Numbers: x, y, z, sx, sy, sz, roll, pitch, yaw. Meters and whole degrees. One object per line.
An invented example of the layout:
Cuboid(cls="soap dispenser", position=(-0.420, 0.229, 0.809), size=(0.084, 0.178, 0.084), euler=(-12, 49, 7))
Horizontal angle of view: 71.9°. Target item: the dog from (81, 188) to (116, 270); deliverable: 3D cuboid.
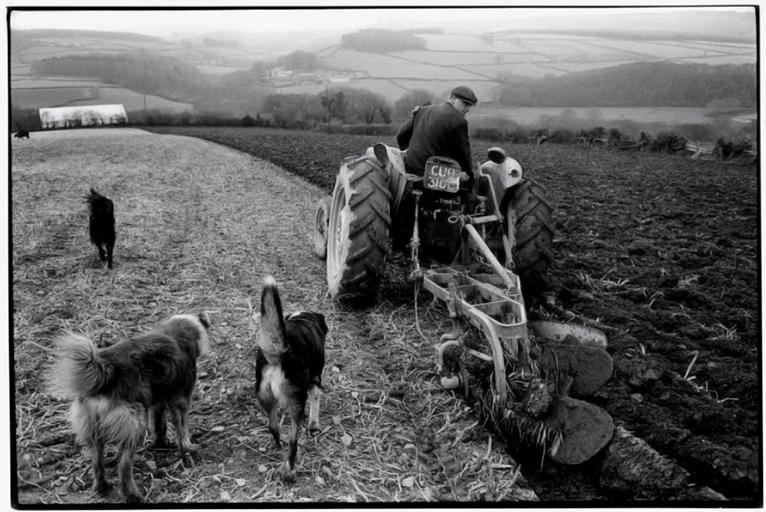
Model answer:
Cuboid(cls="dog", position=(-2.880, -0.242, 5.353), size=(0.183, 0.445, 0.836), euler=(-10, 54, 1))

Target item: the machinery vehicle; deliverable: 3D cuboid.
Cuboid(cls="machinery vehicle", position=(0.832, 0.488, 5.371), size=(2.010, 1.726, 3.518), euler=(-3, 34, -19))

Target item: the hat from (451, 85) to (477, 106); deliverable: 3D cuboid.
Cuboid(cls="hat", position=(0.880, -1.725, 5.713), size=(0.223, 0.127, 0.200), euler=(8, 25, -17))
